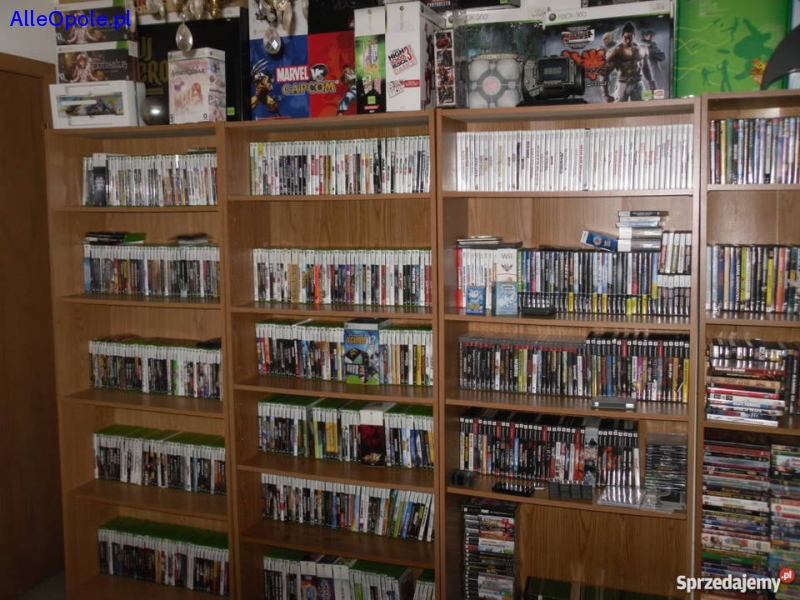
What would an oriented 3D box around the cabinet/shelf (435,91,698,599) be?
[{"bbox_3d":[0.791,0.308,3.599,1.219,2.417,0.634,2,8,23],"label":"cabinet/shelf"}]
